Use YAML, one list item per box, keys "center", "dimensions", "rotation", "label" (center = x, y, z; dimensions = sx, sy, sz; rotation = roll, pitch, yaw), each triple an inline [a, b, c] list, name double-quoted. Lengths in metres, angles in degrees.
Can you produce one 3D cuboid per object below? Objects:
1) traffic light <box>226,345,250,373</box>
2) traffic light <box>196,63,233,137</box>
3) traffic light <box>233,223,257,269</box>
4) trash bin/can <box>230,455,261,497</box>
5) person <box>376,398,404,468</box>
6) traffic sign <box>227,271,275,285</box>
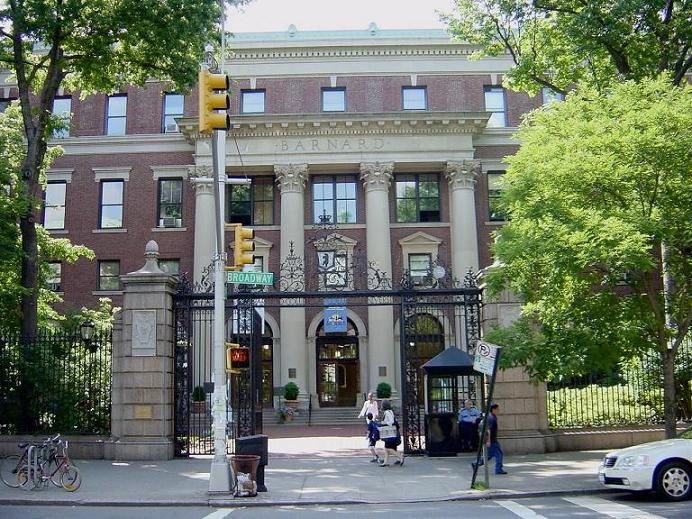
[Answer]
- center: [-3.045, 2.829, 26.143]
  dimensions: [0.723, 0.948, 0.726]
  rotation: [-2, -5, 13]
  label: "traffic light"
- center: [-3.369, -4.048, 23.578]
  dimensions: [0.753, 1.628, 0.785]
  rotation: [-1, 5, -8]
  label: "traffic light"
- center: [-2.981, -0.373, 26.904]
  dimensions: [0.555, 1.291, 1.625]
  rotation: [-1, 5, -7]
  label: "traffic light"
- center: [-2.784, 6.084, 25.801]
  dimensions: [1.128, 1.037, 1.012]
  rotation: [-1, -19, 2]
  label: "trash bin/can"
- center: [1.480, 5.617, 29.818]
  dimensions: [0.803, 2.174, 1.275]
  rotation: [0, 5, 3]
  label: "person"
- center: [-2.969, 0.518, 27.934]
  dimensions: [1.514, 0.465, 0.643]
  rotation: [-4, 6, -38]
  label: "traffic sign"
